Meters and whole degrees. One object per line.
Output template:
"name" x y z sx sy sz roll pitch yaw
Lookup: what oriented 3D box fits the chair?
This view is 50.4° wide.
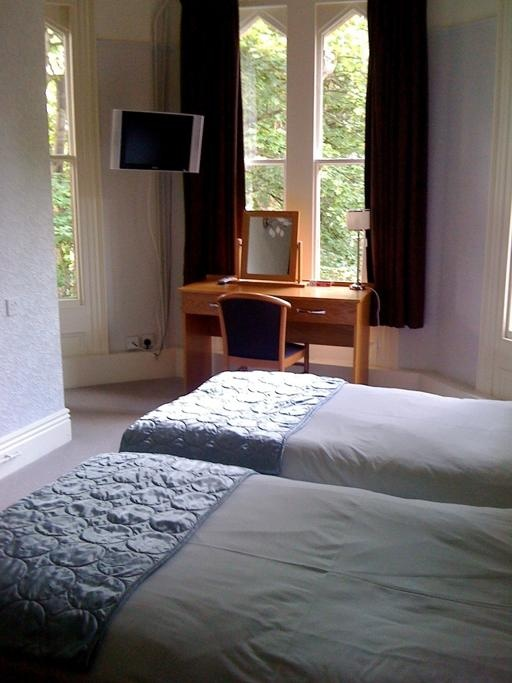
"chair" -0.090 -0.032 3.941 0.849 0.613 0.340 7 7 30

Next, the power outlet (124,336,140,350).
"power outlet" -1.021 0.015 4.521 0.109 0.108 0.026 7 5 -16

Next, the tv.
"tv" -0.692 -1.412 3.812 0.590 0.381 0.059 0 18 -20

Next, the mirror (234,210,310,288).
"mirror" 0.107 -0.697 4.059 0.584 0.686 0.054 2 4 11

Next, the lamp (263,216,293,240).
"lamp" 0.156 -0.838 4.016 0.212 0.148 0.055 -6 5 20

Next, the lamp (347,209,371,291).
"lamp" 0.738 -0.661 3.909 0.152 0.545 0.477 0 10 12

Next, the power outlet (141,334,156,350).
"power outlet" -0.892 0.011 4.529 0.111 0.135 0.052 -3 10 -9
